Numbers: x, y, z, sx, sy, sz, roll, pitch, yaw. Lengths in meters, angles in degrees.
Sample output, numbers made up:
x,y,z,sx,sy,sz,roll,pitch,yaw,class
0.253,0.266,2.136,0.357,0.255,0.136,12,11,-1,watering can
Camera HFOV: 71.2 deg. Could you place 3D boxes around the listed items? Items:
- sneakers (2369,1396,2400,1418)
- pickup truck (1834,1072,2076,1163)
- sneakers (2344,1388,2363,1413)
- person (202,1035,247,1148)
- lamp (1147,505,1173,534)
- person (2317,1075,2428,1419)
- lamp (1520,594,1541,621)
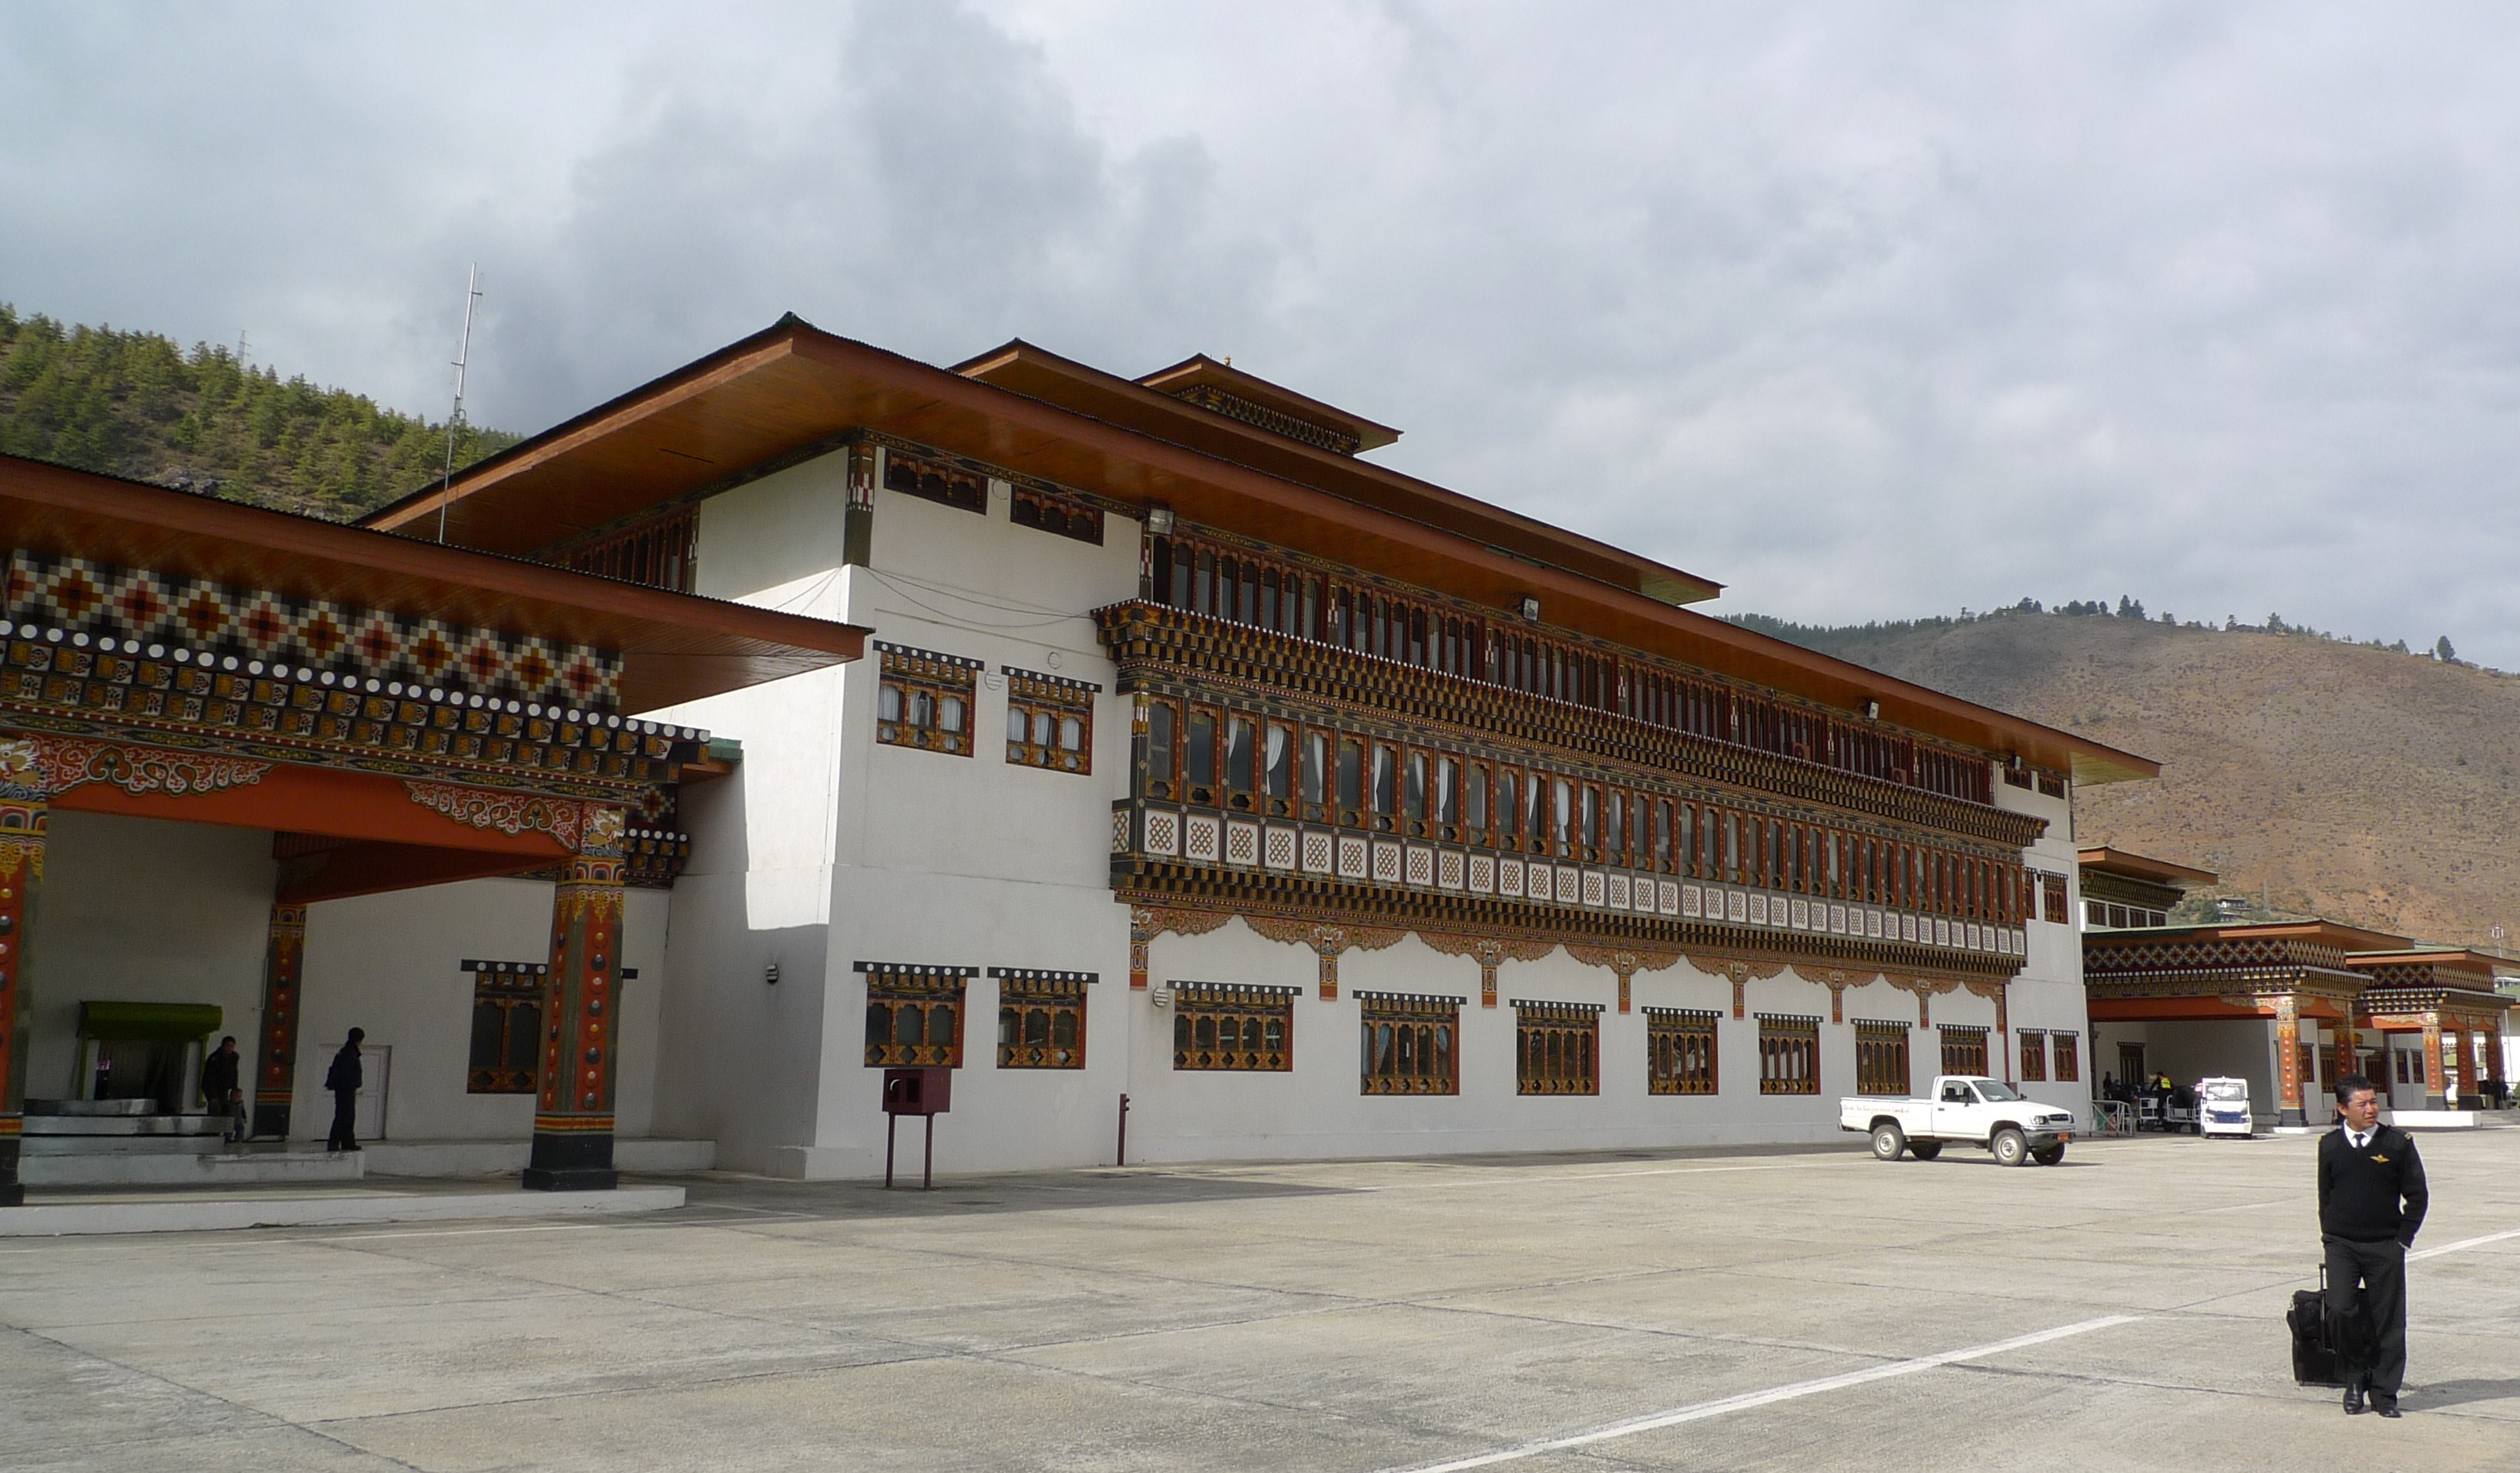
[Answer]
x,y,z,sx,sy,sz,roll,pitch,yaw,class
11.454,6.748,17.854,0.368,0.176,0.166,6,-8,-35,sneakers
18.044,9.827,45.936,5.362,1.981,2.497,-9,-14,38,pickup truck
11.099,6.707,17.838,0.324,0.215,0.118,7,-8,-38,sneakers
-19.543,6.466,33.323,0.858,1.586,0.860,3,4,33,person
-2.322,-5.015,41.001,0.619,0.525,0.165,2,-1,-42,lamp
11.666,5.274,18.457,0.923,3.243,1.575,-2,-8,31,person
7.445,-3.502,48.239,0.438,0.500,1.068,-2,-7,28,lamp
